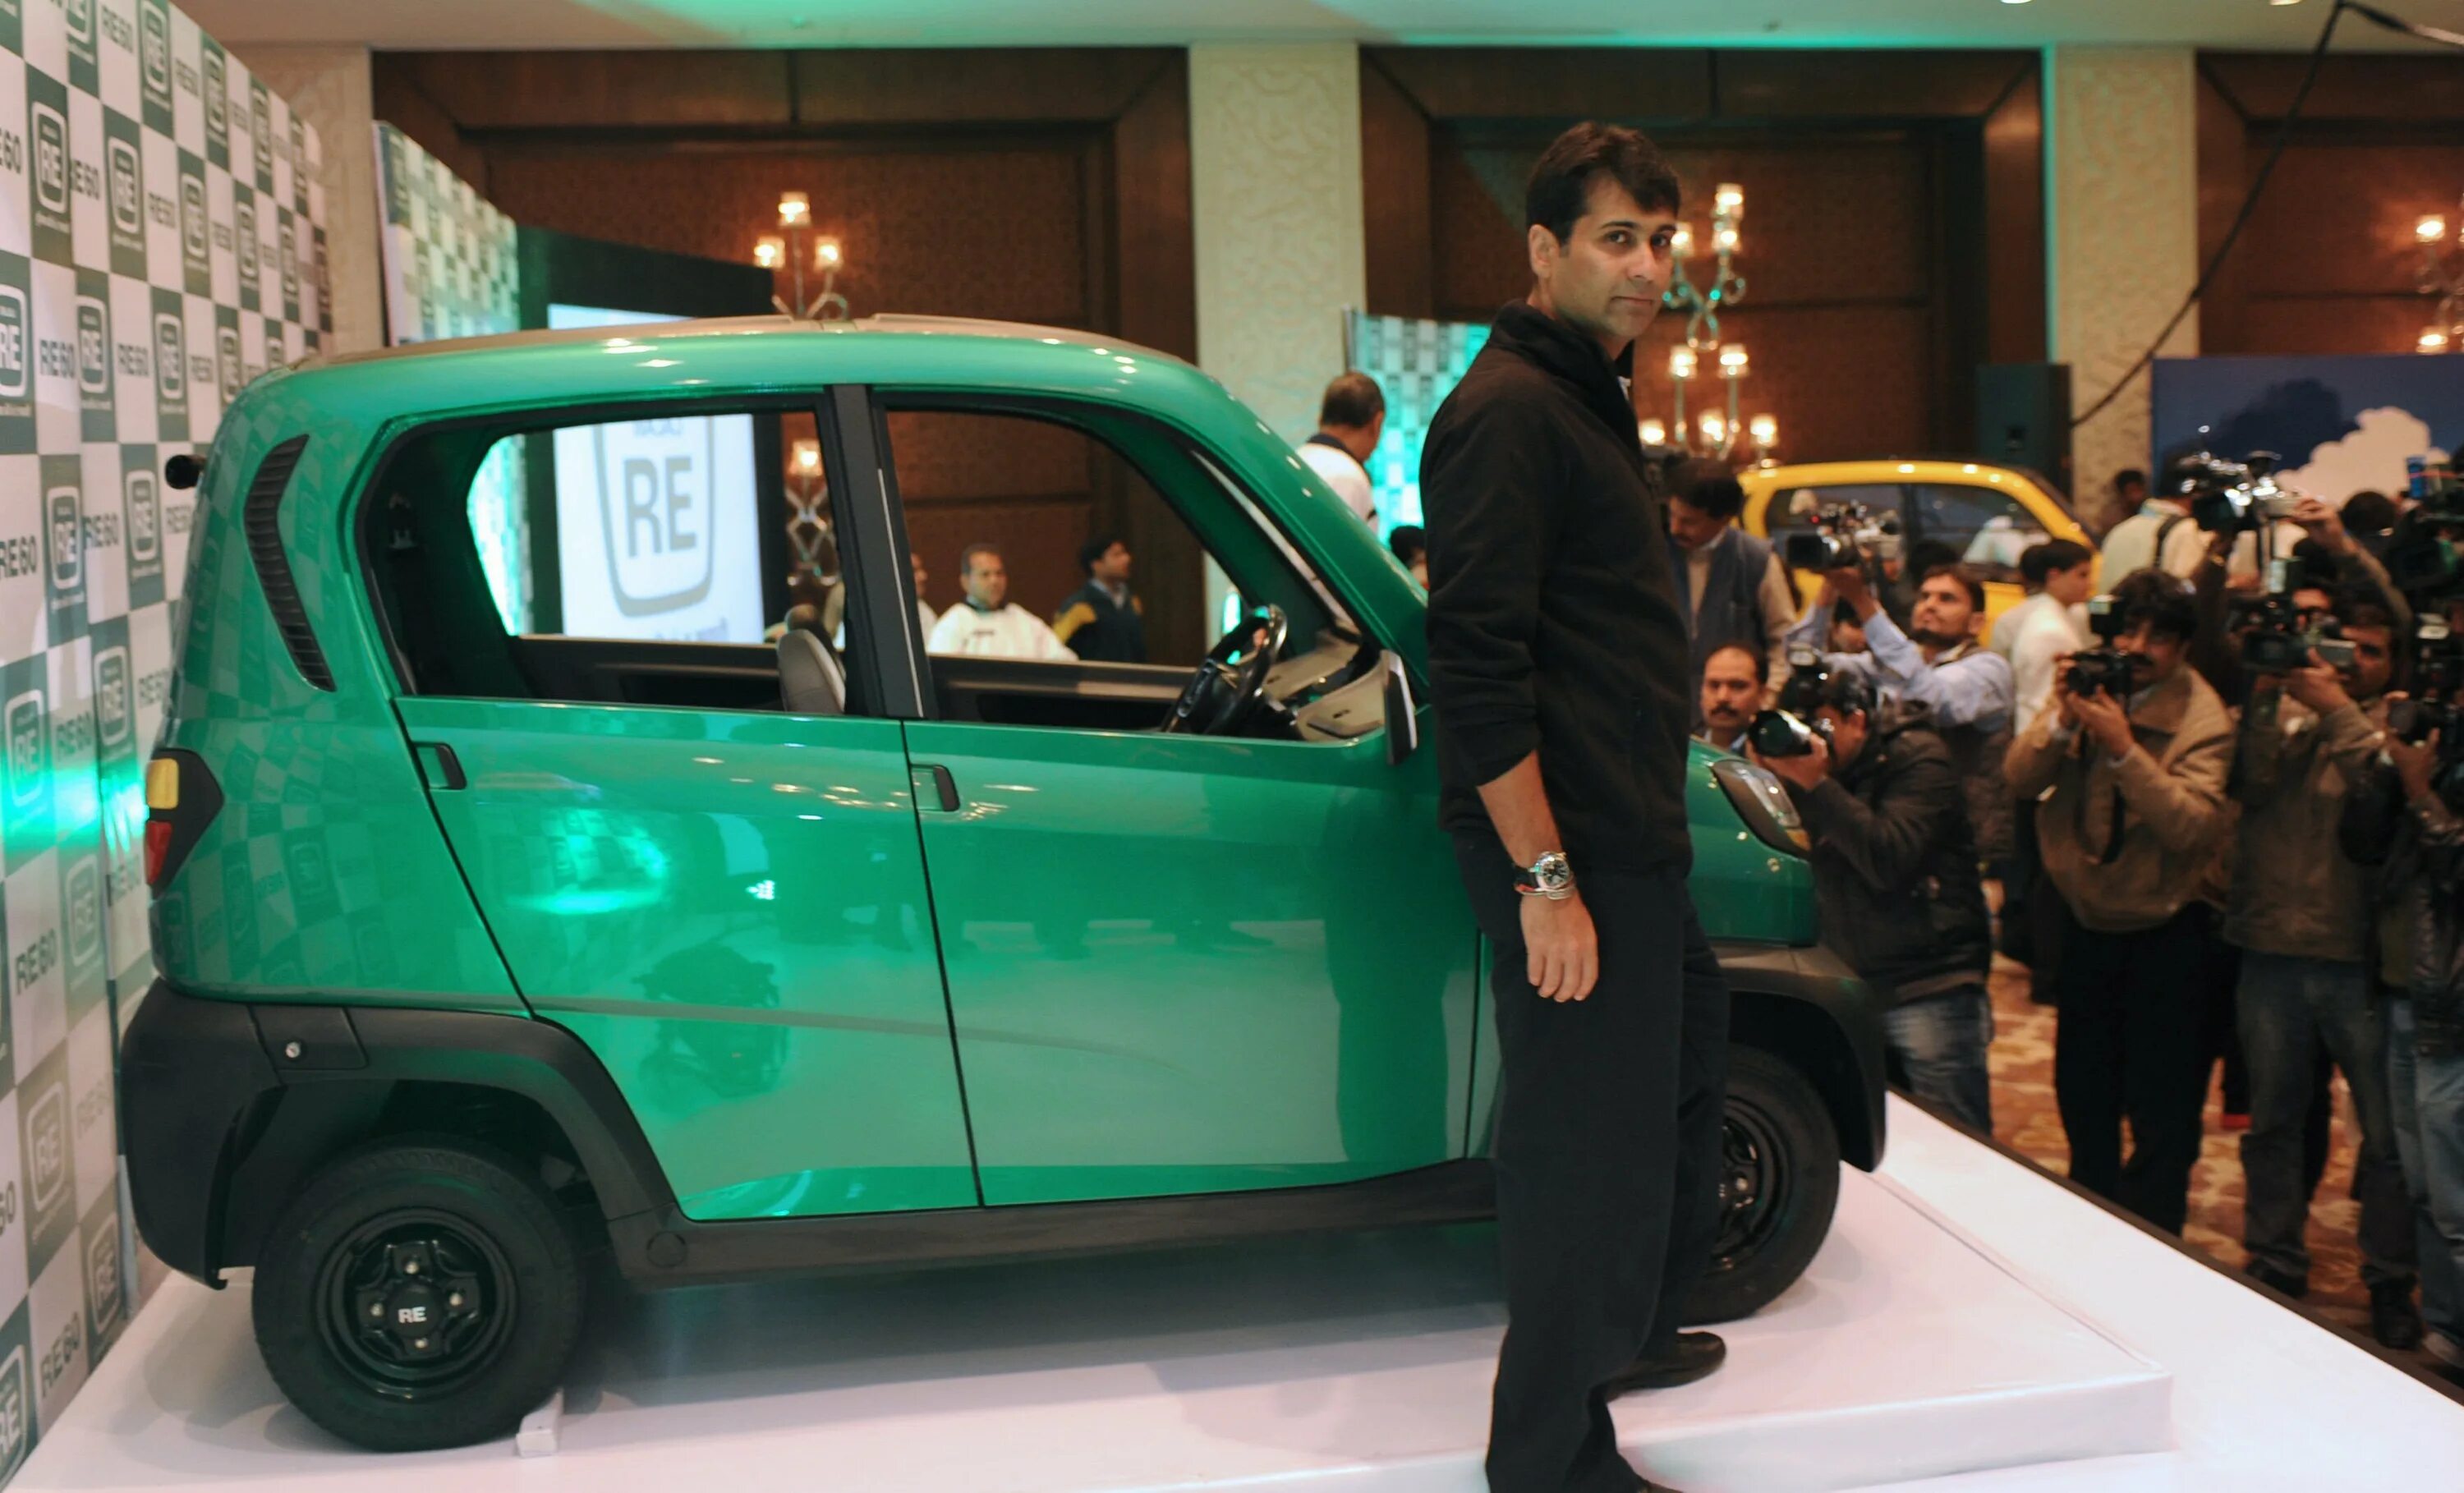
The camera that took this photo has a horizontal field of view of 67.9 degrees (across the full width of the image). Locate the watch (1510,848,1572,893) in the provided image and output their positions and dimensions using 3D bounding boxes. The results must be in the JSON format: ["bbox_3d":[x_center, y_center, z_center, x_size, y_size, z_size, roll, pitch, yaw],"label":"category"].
[{"bbox_3d":[0.595,0.241,3.502,0.097,0.052,0.072,-3,-1,26],"label":"watch"}]

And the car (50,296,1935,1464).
[{"bbox_3d":[-0.312,0.186,4.841,4.025,2.171,2.395,-2,7,-11],"label":"car"}]

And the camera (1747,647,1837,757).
[{"bbox_3d":[1.654,-0.104,5.325,0.216,0.317,0.363,6,6,29],"label":"camera"}]

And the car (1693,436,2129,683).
[{"bbox_3d":[3.732,-1.034,10.351,2.491,1.252,1.426,-2,8,-2],"label":"car"}]

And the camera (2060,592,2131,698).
[{"bbox_3d":[2.543,-0.272,5.237,0.196,0.291,0.285,-2,2,37],"label":"camera"}]

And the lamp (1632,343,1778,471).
[{"bbox_3d":[3.412,-2.370,13.084,1.149,1.081,1.112,2,3,25],"label":"lamp"}]
